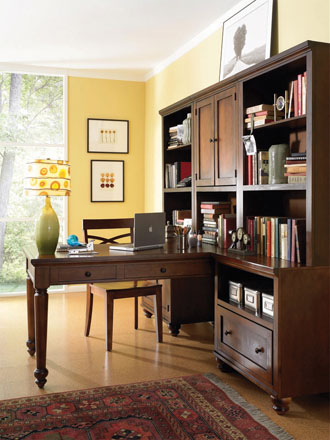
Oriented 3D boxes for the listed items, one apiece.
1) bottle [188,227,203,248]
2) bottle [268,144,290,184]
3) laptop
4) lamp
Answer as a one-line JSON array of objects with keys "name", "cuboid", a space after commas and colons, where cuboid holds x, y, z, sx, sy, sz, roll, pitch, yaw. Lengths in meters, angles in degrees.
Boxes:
[{"name": "bottle", "cuboid": [0.211, 0.135, 2.730, 0.138, 0.161, 0.098, 4, -5, -34]}, {"name": "bottle", "cuboid": [0.619, -0.300, 2.064, 0.107, 0.216, 0.083, -1, -1, 23]}, {"name": "laptop", "cuboid": [-0.169, -0.005, 2.442, 0.228, 0.295, 0.332, 5, 5, 32]}, {"name": "lamp", "cuboid": [-0.677, -0.083, 2.254, 0.263, 0.580, 0.379, 1, -1, -23]}]
